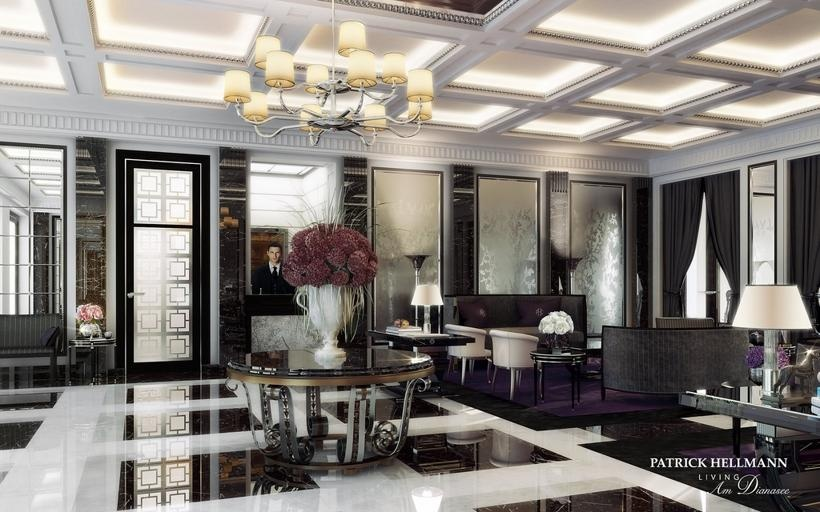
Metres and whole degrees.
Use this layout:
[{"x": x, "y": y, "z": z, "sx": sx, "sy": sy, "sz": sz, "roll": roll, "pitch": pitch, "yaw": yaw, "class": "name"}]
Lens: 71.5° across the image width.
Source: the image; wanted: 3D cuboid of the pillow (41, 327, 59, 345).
[{"x": -5.626, "y": 1.271, "z": 8.880, "sx": 0.217, "sy": 0.266, "sz": 0.242, "roll": 0, "pitch": 3, "yaw": -3, "class": "pillow"}]

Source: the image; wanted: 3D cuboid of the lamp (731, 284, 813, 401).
[{"x": 3.270, "y": 0.777, "z": 5.196, "sx": 0.518, "sy": 1.013, "sz": 0.444, "roll": -2, "pitch": 4, "yaw": -31, "class": "lamp"}]

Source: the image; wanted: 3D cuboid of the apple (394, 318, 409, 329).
[{"x": -0.129, "y": 1.051, "z": 8.776, "sx": 0.220, "sy": 0.112, "sz": 0.280, "roll": 1, "pitch": -3, "yaw": -2, "class": "apple"}]

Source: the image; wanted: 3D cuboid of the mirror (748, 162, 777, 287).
[{"x": 6.555, "y": -0.605, "z": 10.604, "sx": 0.356, "sy": 2.227, "sz": 0.531, "roll": -2, "pitch": 4, "yaw": -38, "class": "mirror"}]

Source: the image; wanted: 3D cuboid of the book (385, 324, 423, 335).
[{"x": -0.102, "y": 1.132, "z": 8.643, "sx": 0.317, "sy": 0.068, "sz": 0.311, "roll": 2, "pitch": -2, "yaw": -38, "class": "book"}]

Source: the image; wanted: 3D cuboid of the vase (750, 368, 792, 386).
[{"x": 3.340, "y": 1.115, "z": 5.260, "sx": 0.451, "sy": 0.156, "sz": 0.315, "roll": -4, "pitch": -7, "yaw": 32, "class": "vase"}]

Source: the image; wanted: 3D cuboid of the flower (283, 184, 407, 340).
[{"x": -0.830, "y": 0.186, "z": 5.894, "sx": 0.961, "sy": 1.441, "sz": 0.490, "roll": 0, "pitch": 3, "yaw": -9, "class": "flower"}]

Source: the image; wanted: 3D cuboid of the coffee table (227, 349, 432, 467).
[{"x": -0.974, "y": 1.585, "z": 6.425, "sx": 1.964, "sy": 1.154, "sz": 2.290, "roll": 0, "pitch": 3, "yaw": -14, "class": "coffee table"}]

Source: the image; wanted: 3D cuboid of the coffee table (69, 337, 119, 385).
[{"x": -5.219, "y": 1.741, "z": 9.393, "sx": 0.805, "sy": 0.752, "sz": 0.746, "roll": 2, "pitch": -5, "yaw": -33, "class": "coffee table"}]
